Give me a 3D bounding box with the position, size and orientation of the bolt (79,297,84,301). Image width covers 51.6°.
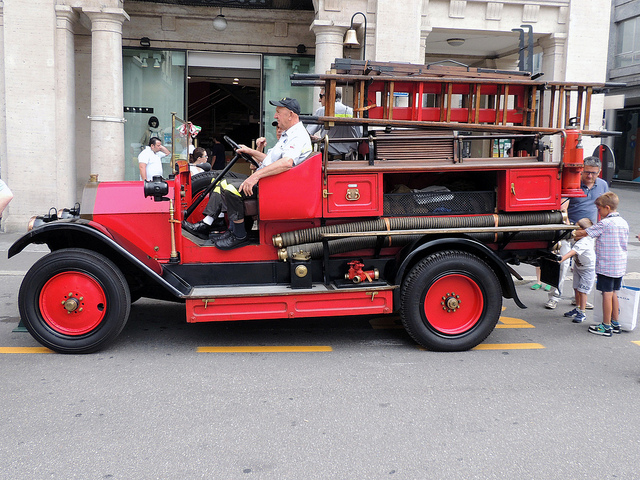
[{"bbox_3d":[-2.486,0.619,6.955,0.061,0.051,0.033,-2,-8,-15],"label":"bolt"}]

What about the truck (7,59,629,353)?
[{"bbox_3d":[-0.011,-0.309,8.286,6.561,3.352,2.437,0,4,4],"label":"truck"}]

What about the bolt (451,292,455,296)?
[{"bbox_3d":[1.471,0.597,7.298,0.022,0.023,0.028,-4,8,-34],"label":"bolt"}]

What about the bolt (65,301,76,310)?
[{"bbox_3d":[-2.576,0.686,6.899,0.070,0.077,0.076,-13,-36,41],"label":"bolt"}]

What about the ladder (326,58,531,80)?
[{"bbox_3d":[1.257,-2.025,7.835,2.337,0.263,0.418,-1,12,-2],"label":"ladder"}]

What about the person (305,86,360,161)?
[{"bbox_3d":[0.238,-1.578,9.103,0.661,1.142,0.716,-19,27,-31],"label":"person"}]

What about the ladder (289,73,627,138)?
[{"bbox_3d":[1.422,-1.554,8.026,3.268,0.685,0.610,2,-2,3],"label":"ladder"}]

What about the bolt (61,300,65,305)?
[{"bbox_3d":[-2.675,0.668,6.946,0.032,0.033,0.010,1,-3,9],"label":"bolt"}]

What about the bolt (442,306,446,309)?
[{"bbox_3d":[1.370,0.748,7.286,0.027,0.031,0.004,3,12,17],"label":"bolt"}]

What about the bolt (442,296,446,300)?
[{"bbox_3d":[1.367,0.640,7.284,0.033,0.032,0.018,0,12,6],"label":"bolt"}]
